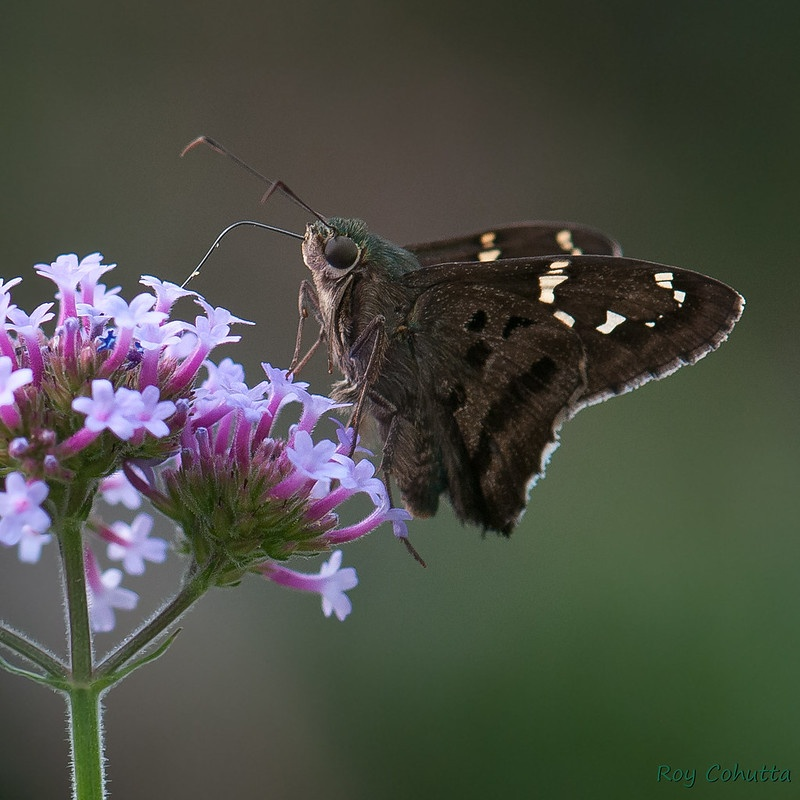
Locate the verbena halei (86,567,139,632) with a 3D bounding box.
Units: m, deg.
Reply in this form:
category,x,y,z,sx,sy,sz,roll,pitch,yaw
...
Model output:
category,x,y,z,sx,sy,sz,roll,pitch,yaw
verbena halei,-1.004,0.687,3.580,0.251,0.196,0.074,-4,-14,-8
